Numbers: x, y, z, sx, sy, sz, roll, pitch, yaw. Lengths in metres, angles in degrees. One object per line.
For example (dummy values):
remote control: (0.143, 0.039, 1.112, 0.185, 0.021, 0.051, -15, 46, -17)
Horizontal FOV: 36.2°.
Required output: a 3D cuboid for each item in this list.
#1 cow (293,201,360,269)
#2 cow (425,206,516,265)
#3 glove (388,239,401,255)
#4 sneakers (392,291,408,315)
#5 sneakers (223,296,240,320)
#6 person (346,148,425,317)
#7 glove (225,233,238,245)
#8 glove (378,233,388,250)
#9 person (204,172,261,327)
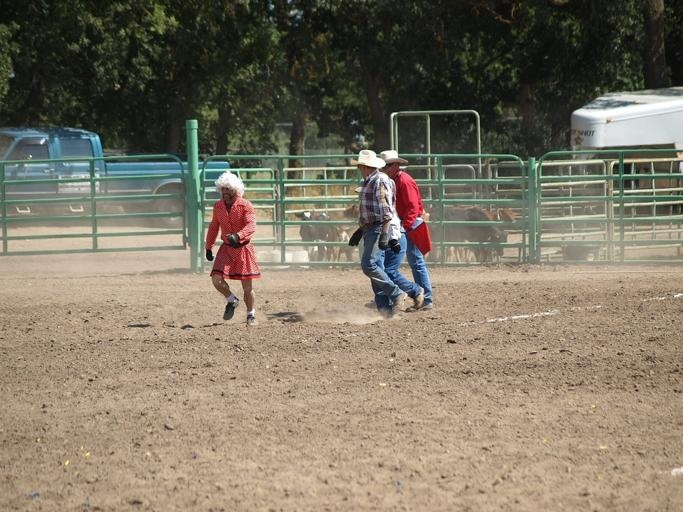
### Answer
cow: (-0.245, -0.429, 21.069, 0.620, 1.090, 1.941, -7, -12, 43)
cow: (2.519, -0.397, 20.942, 1.582, 1.193, 2.672, -1, 4, 5)
glove: (0.767, -0.126, 15.605, 0.150, 0.166, 0.190, -4, 4, 5)
sneakers: (0.871, 0.688, 15.998, 0.162, 0.410, 0.142, 13, -10, -12)
sneakers: (-1.680, 0.773, 15.616, 0.149, 0.455, 0.186, 14, 13, 21)
person: (0.675, -0.339, 15.828, 0.865, 2.509, 0.740, -2, 3, -16)
glove: (-1.586, -0.224, 15.047, 0.185, 0.168, 0.130, -2, 3, -5)
glove: (0.606, -0.205, 15.463, 0.138, 0.201, 0.199, 1, -11, 5)
person: (-1.623, -0.092, 15.387, 0.794, 2.275, 0.676, 1, 4, 40)
